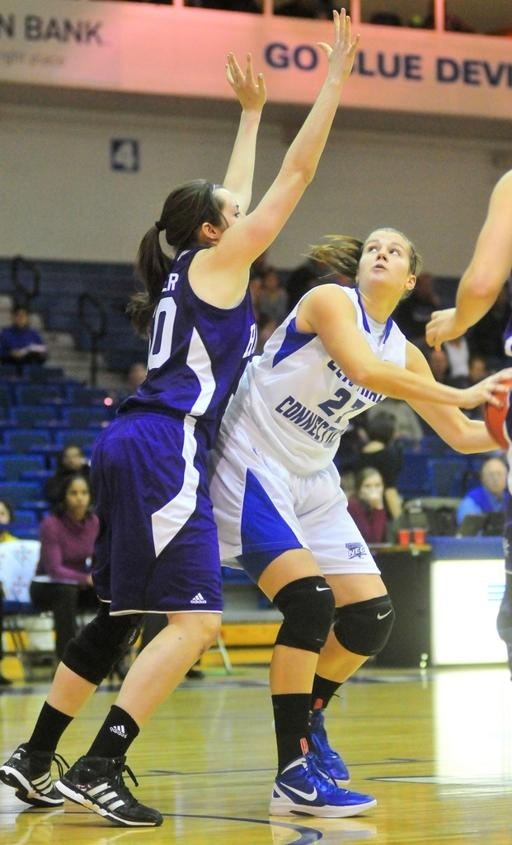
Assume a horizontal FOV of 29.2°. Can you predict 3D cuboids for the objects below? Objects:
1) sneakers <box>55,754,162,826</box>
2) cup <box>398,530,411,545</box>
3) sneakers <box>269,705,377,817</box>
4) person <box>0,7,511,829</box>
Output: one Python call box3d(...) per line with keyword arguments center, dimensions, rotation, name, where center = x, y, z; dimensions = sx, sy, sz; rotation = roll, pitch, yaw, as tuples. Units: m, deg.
box3d(center=(-0.309, 0.777, 2.071), dimensions=(0.256, 0.133, 0.141), rotation=(2, -1, 7), name="sneakers")
box3d(center=(1.018, 0.777, 6.656), dimensions=(0.107, 0.103, 0.104), rotation=(1, -9, 0), name="cup")
box3d(center=(0.153, 0.743, 2.172), dimensions=(0.235, 0.207, 0.097), rotation=(3, -1, 6), name="sneakers")
box3d(center=(-0.134, -0.045, 2.291), dimensions=(0.799, 1.626, 0.823), rotation=(3, -1, -13), name="person")
